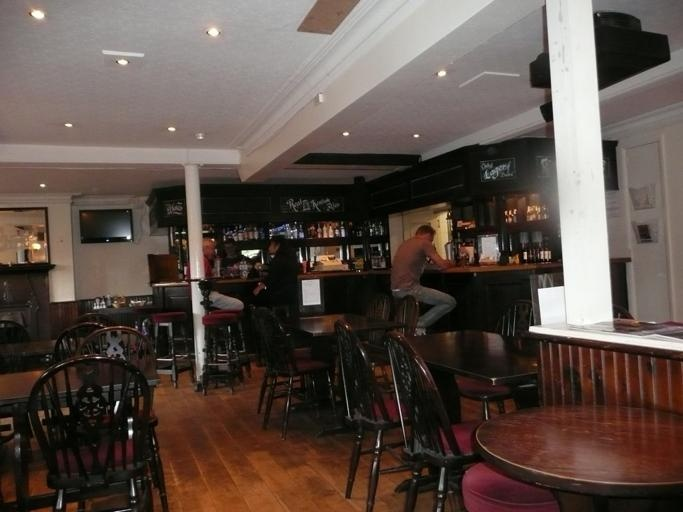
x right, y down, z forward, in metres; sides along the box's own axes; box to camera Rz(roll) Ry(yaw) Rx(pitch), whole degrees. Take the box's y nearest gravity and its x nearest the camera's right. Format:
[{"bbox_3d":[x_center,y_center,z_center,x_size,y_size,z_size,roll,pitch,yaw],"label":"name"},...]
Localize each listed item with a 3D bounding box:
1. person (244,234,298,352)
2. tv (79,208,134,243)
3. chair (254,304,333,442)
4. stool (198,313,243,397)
[{"bbox_3d":[-1.046,0.329,7.956,0.701,1.312,0.601,9,19,5],"label":"person"},{"bbox_3d":[-4.681,-0.595,10.641,0.756,0.505,0.096,-1,1,-15],"label":"tv"},{"bbox_3d":[-0.500,1.044,5.468,0.763,0.860,1.496,-4,2,-10],"label":"chair"},{"bbox_3d":[-1.594,1.193,7.157,0.541,0.802,1.639,-4,2,-12],"label":"stool"}]
